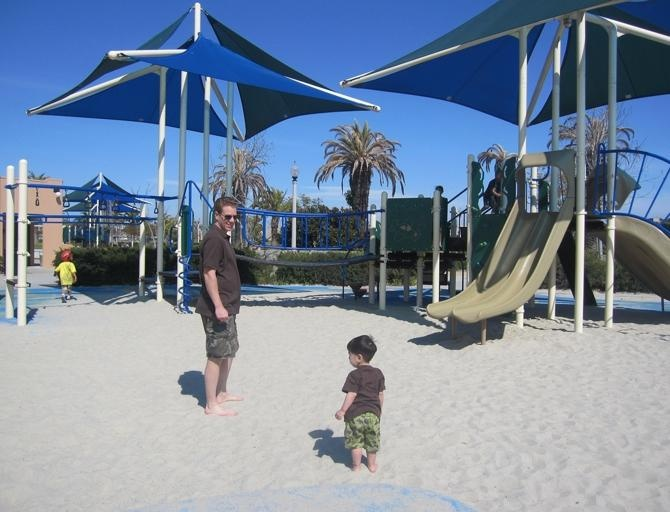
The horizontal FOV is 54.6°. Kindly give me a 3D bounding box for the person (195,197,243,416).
[{"bbox_3d":[-1.353,0.573,7.537,0.466,2.484,0.609,-1,13,-4],"label":"person"}]

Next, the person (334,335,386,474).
[{"bbox_3d":[0.264,1.537,6.667,0.454,1.324,0.498,2,13,6],"label":"person"}]

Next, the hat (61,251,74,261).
[{"bbox_3d":[-6.648,-0.036,16.071,0.224,0.235,0.191,-8,25,-42],"label":"hat"}]

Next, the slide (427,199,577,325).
[{"bbox_3d":[2.807,-0.129,10.452,3.185,1.526,1.012,-18,14,-42],"label":"slide"}]
